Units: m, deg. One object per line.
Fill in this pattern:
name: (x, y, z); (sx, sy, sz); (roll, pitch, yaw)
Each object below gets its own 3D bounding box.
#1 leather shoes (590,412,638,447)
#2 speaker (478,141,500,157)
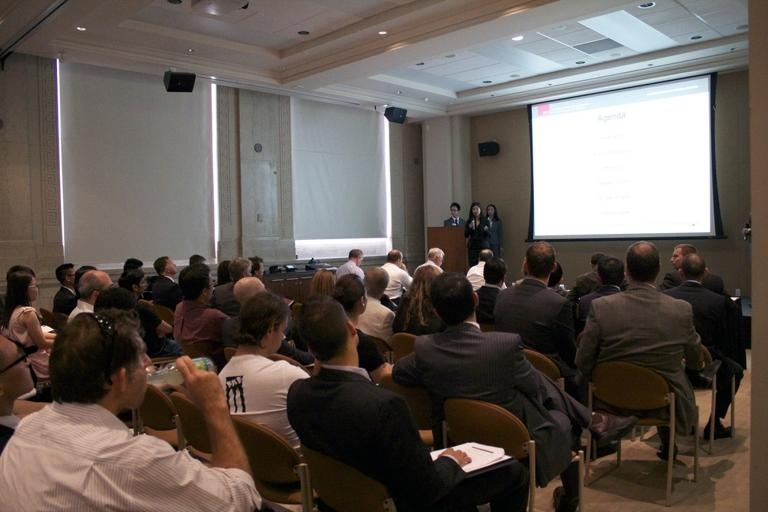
leather shoes: (1.598, 1.223, 3.905); (0.397, 0.232, 0.169); (-4, 12, -25)
speaker: (2.314, -2.350, 12.215); (0.504, 0.383, 0.296); (8, 12, 38)
